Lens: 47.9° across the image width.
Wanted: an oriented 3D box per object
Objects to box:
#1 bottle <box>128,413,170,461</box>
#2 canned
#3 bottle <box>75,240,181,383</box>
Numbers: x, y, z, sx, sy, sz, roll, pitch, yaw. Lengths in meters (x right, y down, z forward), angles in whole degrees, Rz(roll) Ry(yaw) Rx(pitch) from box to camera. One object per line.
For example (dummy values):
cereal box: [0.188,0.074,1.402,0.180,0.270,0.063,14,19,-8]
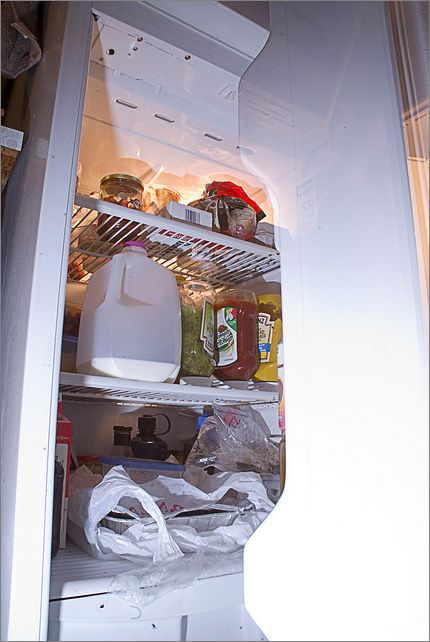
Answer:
bottle: [-0.174,0.301,1.249,0.082,0.133,0.132,3,-17,-22]
canned: [-0.201,-0.236,1.028,0.093,0.136,0.091,-6,10,-38]
bottle: [-0.174,-0.017,0.998,0.193,0.288,0.159,7,-13,-32]
